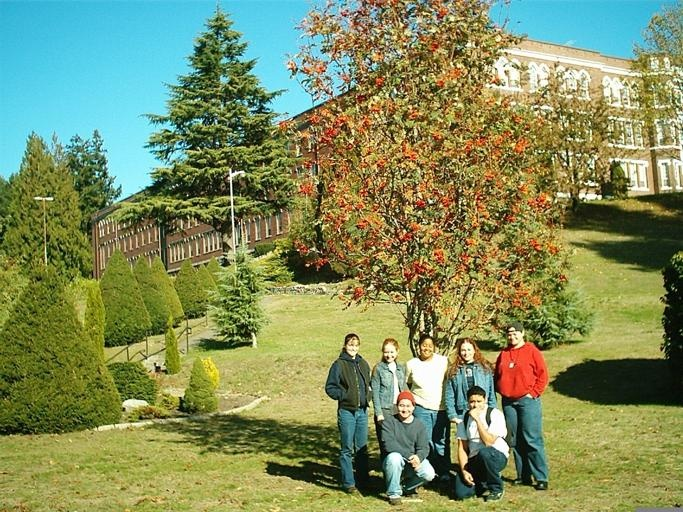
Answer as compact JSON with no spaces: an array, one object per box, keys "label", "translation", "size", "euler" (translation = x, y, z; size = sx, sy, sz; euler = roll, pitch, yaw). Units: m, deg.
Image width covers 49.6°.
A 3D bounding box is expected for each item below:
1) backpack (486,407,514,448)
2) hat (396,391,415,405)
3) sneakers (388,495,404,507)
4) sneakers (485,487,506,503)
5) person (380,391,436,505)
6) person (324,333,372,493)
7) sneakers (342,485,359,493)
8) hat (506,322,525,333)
[{"label":"backpack","translation":[2.710,2.985,12.852],"size":[0.348,0.610,0.571],"euler":[5,-23,-33]},{"label":"hat","translation":[1.112,2.500,13.083],"size":[0.247,0.191,0.253],"euler":[1,-6,19]},{"label":"sneakers","translation":[0.904,4.231,12.762],"size":[0.143,0.139,0.182],"euler":[3,-26,-8]},{"label":"sneakers","translation":[2.588,4.080,12.714],"size":[0.328,0.190,0.284],"euler":[-1,2,10]},{"label":"person","translation":[1.099,3.321,13.041],"size":[0.868,1.861,0.615],"euler":[-2,3,-25]},{"label":"person","translation":[0.138,2.878,13.708],"size":[0.794,2.856,1.103],"euler":[-1,2,1]},{"label":"sneakers","translation":[0.150,4.186,13.341],"size":[0.310,0.144,0.256],"euler":[-1,2,7]},{"label":"hat","translation":[3.100,1.285,13.405],"size":[0.307,0.221,0.241],"euler":[3,-8,-44]}]
